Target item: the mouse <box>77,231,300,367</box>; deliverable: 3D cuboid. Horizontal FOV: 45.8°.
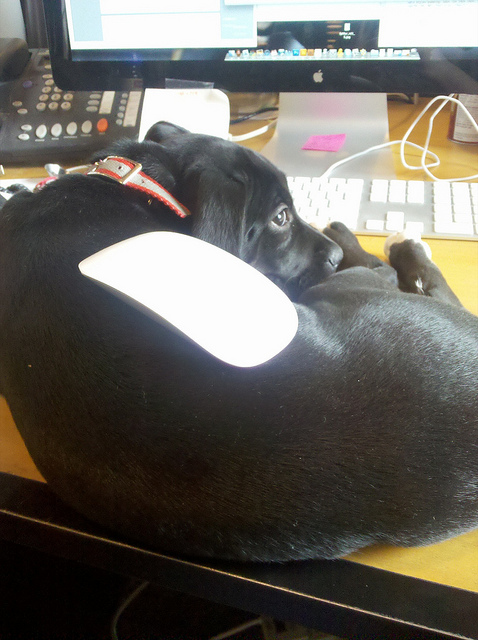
[{"bbox_3d":[-0.052,0.005,0.477,0.170,0.038,0.098,30,41,9],"label":"mouse"}]
